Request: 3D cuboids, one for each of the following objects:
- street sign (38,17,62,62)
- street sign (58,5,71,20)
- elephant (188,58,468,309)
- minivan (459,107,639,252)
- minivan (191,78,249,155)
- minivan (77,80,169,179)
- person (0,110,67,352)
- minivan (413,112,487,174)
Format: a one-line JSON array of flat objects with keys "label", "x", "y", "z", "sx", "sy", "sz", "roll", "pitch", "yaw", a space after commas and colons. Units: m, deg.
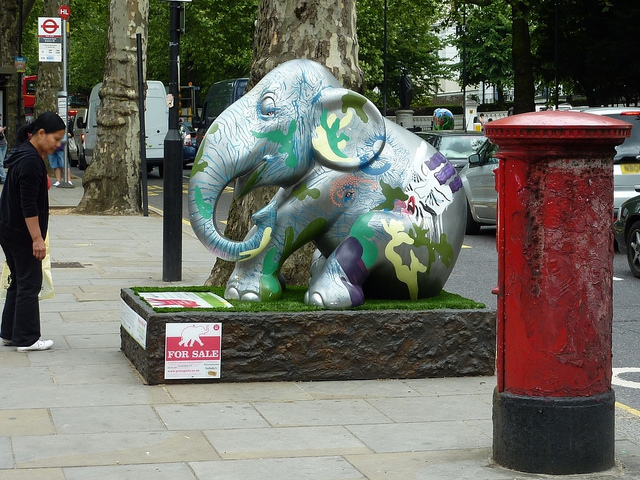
[{"label": "street sign", "x": -6.847, "y": -5.091, "z": 21.178, "sx": 0.530, "sy": 1.025, "sz": 0.697, "roll": -2, "pitch": 7, "yaw": -21}, {"label": "street sign", "x": -6.746, "y": -6.022, "z": 22.004, "sx": 0.255, "sy": 0.392, "sz": 0.596, "roll": -2, "pitch": 8, "yaw": -20}, {"label": "elephant", "x": 0.060, "y": -0.410, "z": 6.944, "sx": 2.208, "sy": 1.931, "sz": 1.302, "roll": 5, "pitch": 1, "yaw": -7}, {"label": "minivan", "x": 3.684, "y": -1.138, "z": 15.590, "sx": 2.497, "sy": 2.366, "sz": 4.375, "roll": -3, "pitch": 9, "yaw": -32}, {"label": "minivan", "x": -4.317, "y": -5.605, "z": 38.903, "sx": 3.162, "sy": 3.648, "sz": 5.809, "roll": 0, "pitch": -9, "yaw": -7}, {"label": "minivan", "x": -7.071, "y": -4.110, "z": 30.168, "sx": 2.910, "sy": 3.161, "sz": 5.394, "roll": -1, "pitch": 7, "yaw": -13}, {"label": "person", "x": -2.457, "y": -0.055, "z": 7.002, "sx": 0.543, "sy": 2.000, "sz": 0.431, "roll": 3, "pitch": 7, "yaw": 17}, {"label": "minivan", "x": 3.006, "y": -2.039, "z": 18.433, "sx": 1.491, "sy": 1.353, "sz": 2.435, "roll": 1, "pitch": 11, "yaw": -9}]
